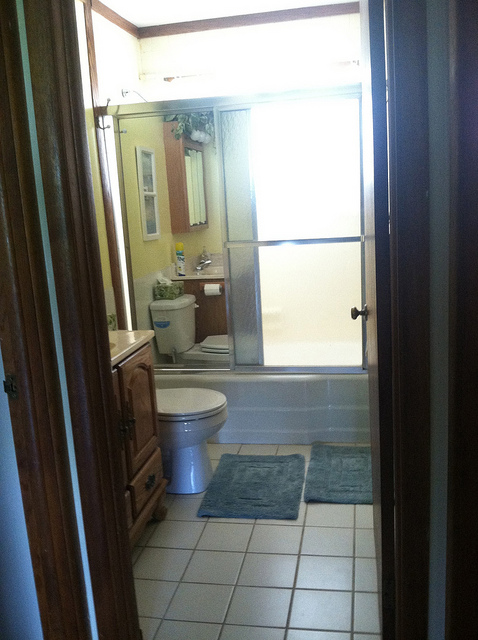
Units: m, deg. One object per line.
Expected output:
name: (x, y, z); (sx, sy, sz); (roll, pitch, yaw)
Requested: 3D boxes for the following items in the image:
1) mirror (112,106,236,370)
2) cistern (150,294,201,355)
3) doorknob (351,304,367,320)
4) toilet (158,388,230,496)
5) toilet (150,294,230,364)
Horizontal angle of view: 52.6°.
mirror: (-0.480, -0.571, 3.431); (0.536, 2.309, 1.074); (0, 16, 6)
cistern: (-0.464, 0.006, 3.772); (0.280, 0.547, 0.528); (1, 12, 13)
doorknob: (0.393, -0.022, 1.583); (0.049, 0.059, 0.227); (-1, 8, 13)
toilet: (-0.230, 0.689, 2.541); (0.333, 0.410, 0.466); (-8, -9, -15)
toilet: (-0.355, 0.101, 3.733); (0.557, 0.513, 0.416); (-1, 23, -1)
